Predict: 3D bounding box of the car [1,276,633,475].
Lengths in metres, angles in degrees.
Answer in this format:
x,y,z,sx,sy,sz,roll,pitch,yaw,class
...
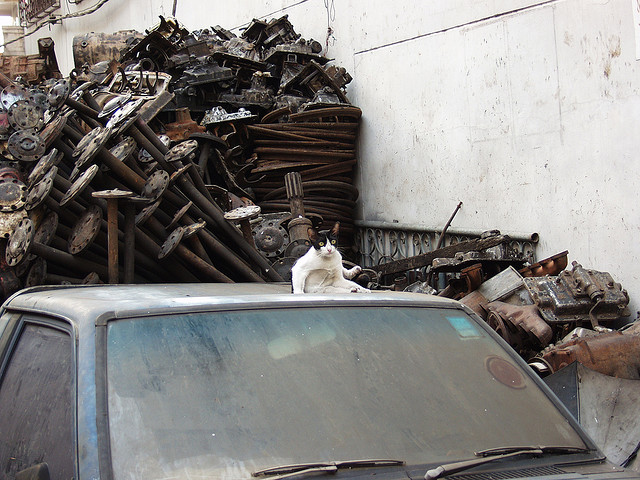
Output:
x,y,z,sx,sy,sz,roll,pitch,yaw,class
-0.152,0.576,2.239,2.403,0.700,0.842,-2,6,-10,car

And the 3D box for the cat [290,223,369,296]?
x,y,z,sx,sy,sz,roll,pitch,yaw,class
0.066,0.134,3.583,0.490,0.542,0.343,-12,21,-23,cat
